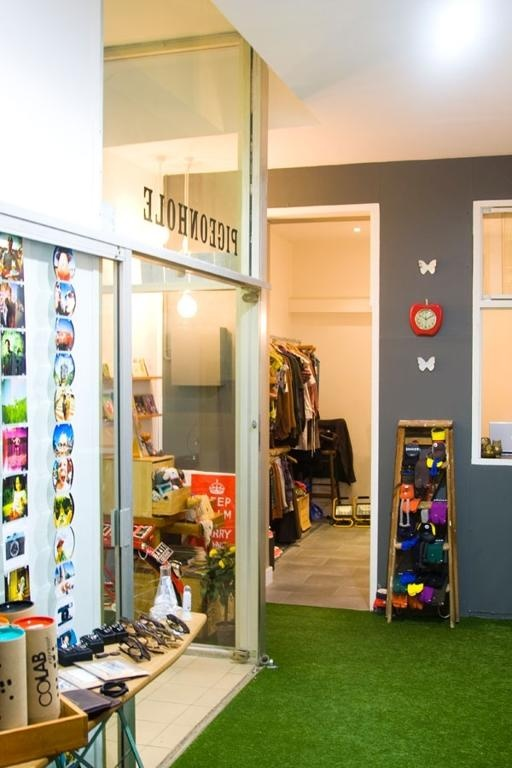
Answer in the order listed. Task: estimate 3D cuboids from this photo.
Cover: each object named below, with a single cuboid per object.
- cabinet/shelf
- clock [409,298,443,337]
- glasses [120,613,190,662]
[{"bbox_3d":[0.417,0.568,6.515,0.513,2.308,1.803,0,-3,6],"label":"cabinet/shelf"},{"bbox_3d":[1.252,-0.489,4.362,0.243,0.308,0.096,2,-2,16],"label":"clock"},{"bbox_3d":[-0.287,0.687,1.640,0.129,0.048,0.101,9,6,28],"label":"glasses"}]
